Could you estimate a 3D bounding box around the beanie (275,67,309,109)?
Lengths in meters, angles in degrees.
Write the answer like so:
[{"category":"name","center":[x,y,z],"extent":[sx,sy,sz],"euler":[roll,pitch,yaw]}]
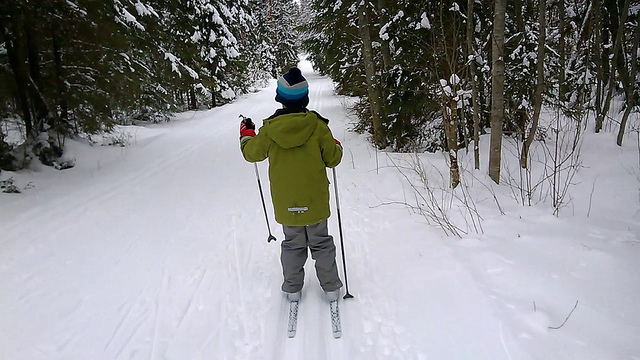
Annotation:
[{"category":"beanie","center":[-0.584,-1.885,8.174],"extent":[0.691,0.811,0.360],"euler":[-9,23,-2]}]
